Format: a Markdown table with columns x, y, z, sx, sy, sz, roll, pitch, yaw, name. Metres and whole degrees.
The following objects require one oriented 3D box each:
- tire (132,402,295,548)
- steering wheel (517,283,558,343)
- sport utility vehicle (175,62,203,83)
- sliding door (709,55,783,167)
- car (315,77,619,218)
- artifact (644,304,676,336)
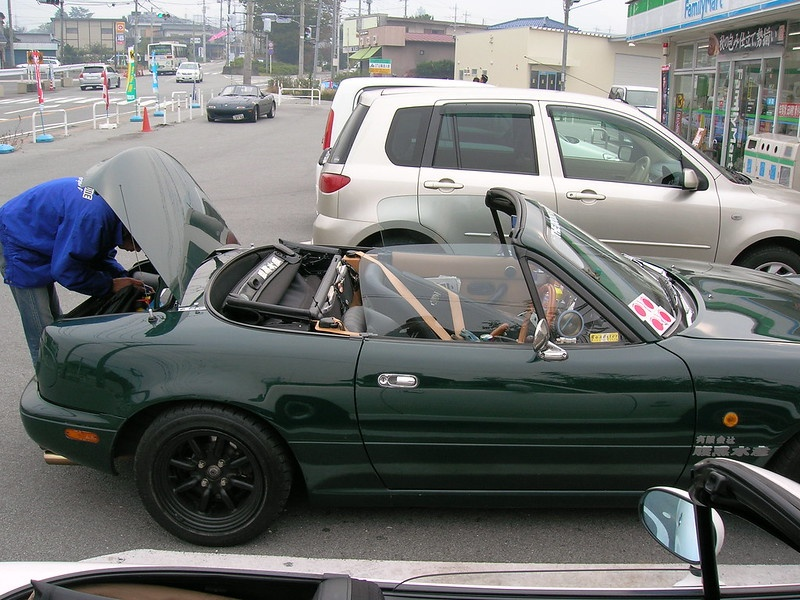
| x | y | z | sx | sy | sz | roll | pitch | yaw | name |
| --- | --- | --- | --- | --- | --- | --- | --- | --- | --- |
| -0.982 | 0.903 | 3.293 | 0.944 | 0.740 | 0.277 | 5 | 10 | 1 | tire |
| 0.754 | 0.063 | 3.333 | 0.271 | 0.293 | 0.092 | 0 | -6 | 11 | steering wheel |
| -18.231 | -19.575 | 53.611 | 2.704 | 1.692 | 1.383 | 15 | 24 | 37 | sport utility vehicle |
| 8.232 | -4.105 | 13.775 | 1.958 | 2.282 | 1.832 | 10 | 30 | 31 | sliding door |
| 0.663 | -1.515 | 6.200 | 2.780 | 1.090 | 1.304 | -3 | 20 | 0 | car |
| 1.395 | 0.111 | 3.354 | 0.103 | 0.042 | 0.170 | 45 | 42 | 8 | artifact |
